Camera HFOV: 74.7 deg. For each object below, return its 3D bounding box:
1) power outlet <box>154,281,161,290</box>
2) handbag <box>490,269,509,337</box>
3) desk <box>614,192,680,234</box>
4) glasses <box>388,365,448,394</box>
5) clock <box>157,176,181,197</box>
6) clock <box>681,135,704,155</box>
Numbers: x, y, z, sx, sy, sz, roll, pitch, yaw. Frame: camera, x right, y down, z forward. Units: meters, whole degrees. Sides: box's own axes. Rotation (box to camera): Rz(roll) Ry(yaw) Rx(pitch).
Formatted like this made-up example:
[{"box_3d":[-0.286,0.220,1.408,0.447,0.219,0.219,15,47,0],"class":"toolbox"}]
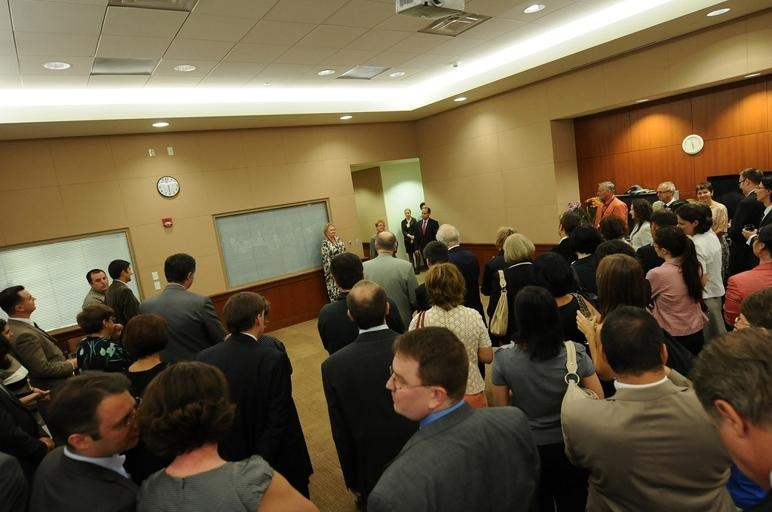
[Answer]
[{"box_3d":[-3.591,0.457,7.907,0.012,0.076,0.125,1,-10,27],"class":"power outlet"},{"box_3d":[1.016,0.430,4.539,0.188,0.583,0.167,-7,6,2],"class":"handbag"},{"box_3d":[3.418,-0.586,6.562,0.706,0.495,1.489,-4,8,25],"class":"desk"},{"box_3d":[0.155,0.691,2.801,0.220,0.099,0.181,20,1,8],"class":"glasses"},{"box_3d":[-3.456,-1.104,7.985,0.323,0.337,0.033,2,-4,-43],"class":"clock"},{"box_3d":[4.455,-1.607,7.293,0.037,0.298,0.283,-11,0,-26],"class":"clock"}]
